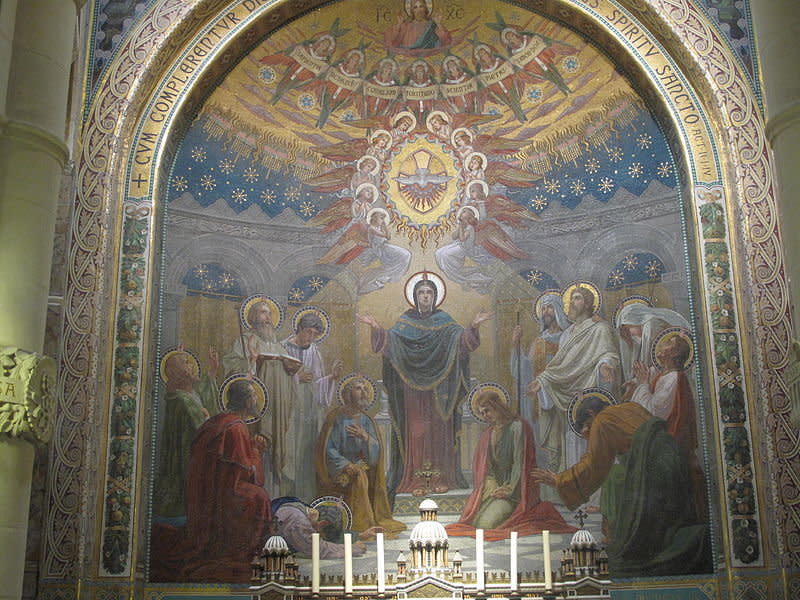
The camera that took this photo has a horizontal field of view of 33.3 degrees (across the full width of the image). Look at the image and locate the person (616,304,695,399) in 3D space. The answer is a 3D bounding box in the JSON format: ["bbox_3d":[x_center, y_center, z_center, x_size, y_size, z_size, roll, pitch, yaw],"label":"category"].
[{"bbox_3d":[2.290,0.471,12.823,0.613,0.899,0.253,-2,1,25],"label":"person"}]

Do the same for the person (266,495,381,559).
[{"bbox_3d":[-0.794,2.144,12.818,0.756,0.299,0.585,19,-6,-6],"label":"person"}]
